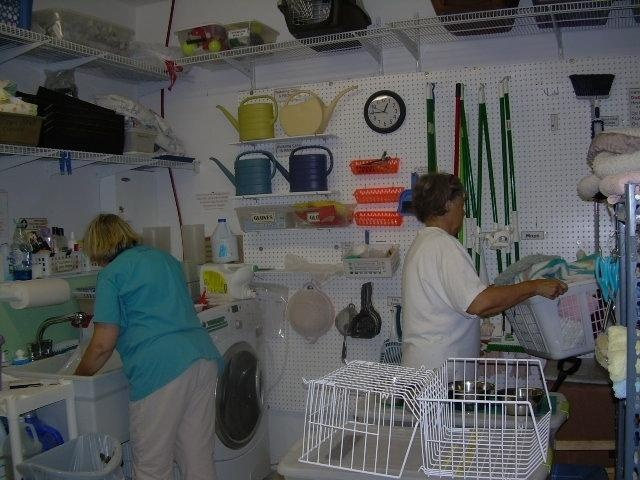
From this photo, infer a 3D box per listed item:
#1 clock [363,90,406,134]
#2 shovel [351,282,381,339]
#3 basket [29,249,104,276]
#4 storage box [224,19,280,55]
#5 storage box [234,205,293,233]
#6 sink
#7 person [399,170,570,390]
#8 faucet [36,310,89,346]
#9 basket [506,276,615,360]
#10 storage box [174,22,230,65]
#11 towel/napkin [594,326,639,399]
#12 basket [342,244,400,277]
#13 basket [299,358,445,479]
[{"bbox_3d":[0.450,-0.860,3.699,0.276,0.307,0.057,-1,0,20],"label":"clock"},{"bbox_3d":[0.307,0.476,3.715,0.195,0.383,0.067,-2,-4,27],"label":"shovel"},{"bbox_3d":[-1.654,0.154,3.549,0.091,0.170,0.358,9,3,30],"label":"basket"},{"bbox_3d":[-0.488,-1.433,4.004,0.240,0.122,0.304,-3,-2,8],"label":"storage box"},{"bbox_3d":[-0.386,-0.150,3.836,0.288,0.115,0.204,-4,-2,6],"label":"storage box"},{"bbox_3d":[-1.325,0.830,3.017,0.498,0.339,0.525,2,5,23],"label":"sink"},{"bbox_3d":[0.785,0.252,2.681,0.661,1.151,0.739,-5,9,-14],"label":"person"},{"bbox_3d":[-1.601,0.550,3.433,0.307,0.208,0.141,-4,2,-7],"label":"faucet"},{"bbox_3d":[1.114,0.349,2.546,0.298,0.308,0.421,1,-3,-40],"label":"basket"},{"bbox_3d":[-0.864,-1.417,3.987,0.318,0.171,0.225,-6,-3,21],"label":"storage box"},{"bbox_3d":[1.155,0.466,2.131,0.065,0.241,0.173,-8,3,-28],"label":"towel/napkin"},{"bbox_3d":[0.347,0.138,3.619,0.384,0.216,0.258,0,-1,1],"label":"basket"},{"bbox_3d":[0.201,0.693,2.039,0.414,0.283,0.434,7,16,19],"label":"basket"}]
